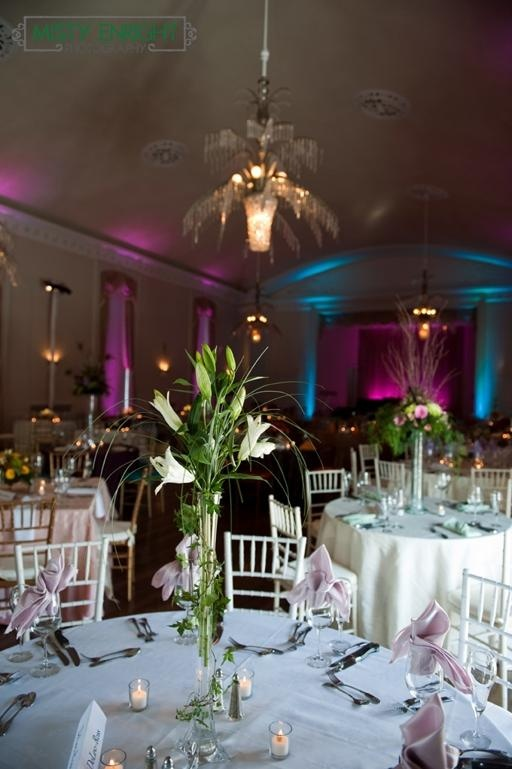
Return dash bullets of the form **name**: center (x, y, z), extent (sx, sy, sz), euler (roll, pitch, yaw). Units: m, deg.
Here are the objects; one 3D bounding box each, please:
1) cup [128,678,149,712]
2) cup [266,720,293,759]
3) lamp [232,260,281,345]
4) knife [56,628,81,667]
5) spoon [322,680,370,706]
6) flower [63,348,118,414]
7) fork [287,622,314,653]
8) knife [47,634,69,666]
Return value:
- **cup**: center (-0.264, 0.696, 1.355), extent (0.050, 0.058, 0.051), euler (3, -2, 0)
- **cup**: center (0.045, 0.705, 1.191), extent (0.043, 0.049, 0.045), euler (0, -9, 0)
- **lamp**: center (-0.008, -1.640, 11.736), extent (0.809, 1.261, 2.909), euler (1, -1, -2)
- **knife**: center (-0.515, 0.699, 1.659), extent (0.036, 0.023, 0.251), euler (5, 2, -22)
- **spoon**: center (0.222, 0.729, 1.433), extent (0.033, 0.017, 0.112), euler (-2, -8, -15)
- **flower**: center (-2.717, -0.042, 10.244), extent (0.917, 1.077, 0.977), euler (-6, -6, 22)
- **fork**: center (0.126, 0.735, 1.735), extent (0.069, 0.041, 0.235), euler (0, -7, 8)
- **knife**: center (-0.537, 0.722, 1.645), extent (0.039, 0.022, 0.167), euler (-1, 2, -25)
